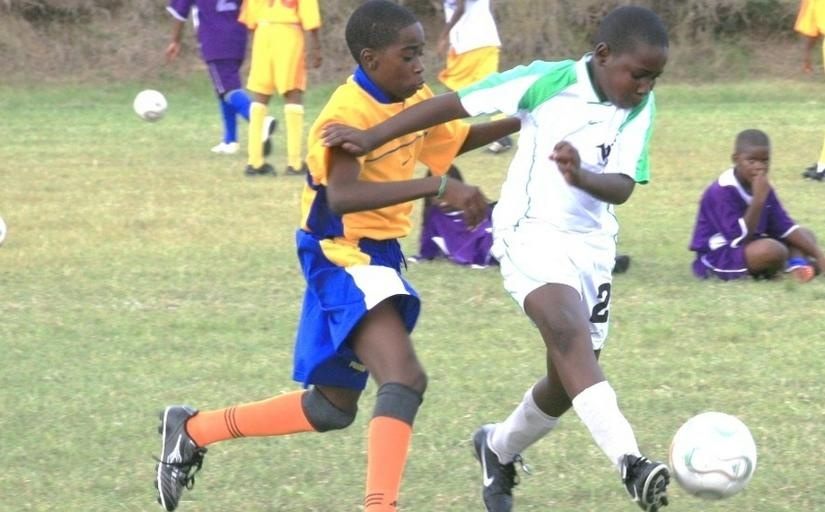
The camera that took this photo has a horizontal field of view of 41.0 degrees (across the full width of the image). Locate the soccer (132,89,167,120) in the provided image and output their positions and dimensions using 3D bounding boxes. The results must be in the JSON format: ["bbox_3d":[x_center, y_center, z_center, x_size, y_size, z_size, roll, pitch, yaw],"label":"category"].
[{"bbox_3d":[-2.984,-1.710,12.542,0.556,0.364,0.289,-1,13,-12],"label":"soccer"}]

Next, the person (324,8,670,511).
[{"bbox_3d":[0.726,-0.149,5.796,1.516,2.268,1.129,10,22,30],"label":"person"}]

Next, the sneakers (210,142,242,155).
[{"bbox_3d":[-2.019,-1.166,11.978,0.324,0.086,0.138,5,17,8],"label":"sneakers"}]

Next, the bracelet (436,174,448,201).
[{"bbox_3d":[0.152,-0.355,5.688,0.047,0.091,0.091,22,3,1],"label":"bracelet"}]

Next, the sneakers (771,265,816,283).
[{"bbox_3d":[2.870,0.135,8.225,0.195,0.051,0.188,9,25,42],"label":"sneakers"}]

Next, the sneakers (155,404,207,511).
[{"bbox_3d":[-1.262,1.085,5.912,0.352,0.517,0.246,-4,-8,24],"label":"sneakers"}]
